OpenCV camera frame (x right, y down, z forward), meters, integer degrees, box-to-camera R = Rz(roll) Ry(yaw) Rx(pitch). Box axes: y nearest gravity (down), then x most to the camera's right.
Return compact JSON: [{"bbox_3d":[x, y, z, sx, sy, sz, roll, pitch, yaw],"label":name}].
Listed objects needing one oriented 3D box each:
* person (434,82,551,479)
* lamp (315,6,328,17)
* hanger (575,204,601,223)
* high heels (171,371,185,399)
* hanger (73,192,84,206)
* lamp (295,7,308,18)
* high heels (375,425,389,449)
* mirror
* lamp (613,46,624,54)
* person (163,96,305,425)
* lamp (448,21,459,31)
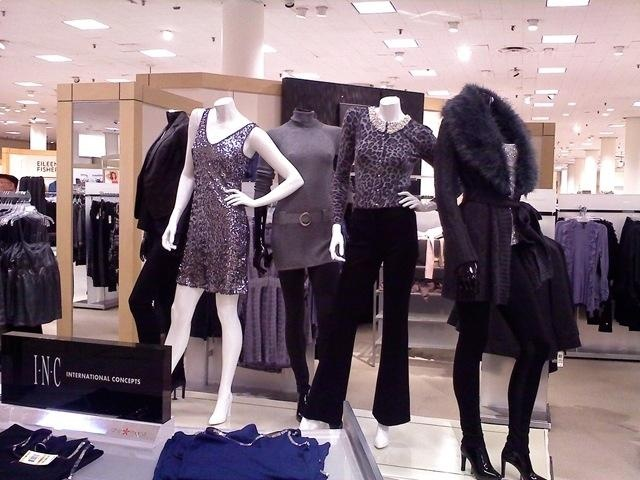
[{"bbox_3d":[0.850,0.204,2.508,0.570,1.970,0.433,2,5,14],"label":"person"},{"bbox_3d":[0.014,-3.559,7.815,0.196,0.118,0.317,1,6,1],"label":"lamp"},{"bbox_3d":[2.745,-0.304,5.145,0.210,0.143,0.222,2,7,26],"label":"hanger"},{"bbox_3d":[-0.874,0.905,3.106,0.065,0.093,0.209,0,-13,-4],"label":"high heels"},{"bbox_3d":[-1.832,-0.307,3.787,0.019,0.080,0.080,-16,-13,37],"label":"hanger"},{"bbox_3d":[-0.290,-3.517,7.752,0.120,0.103,0.132,6,10,18],"label":"lamp"},{"bbox_3d":[0.342,1.061,2.732,0.066,0.138,0.135,0,6,14],"label":"high heels"},{"bbox_3d":[-1.657,-0.173,3.701,0.550,1.639,0.344,5,6,41],"label":"mirror"},{"bbox_3d":[5.544,-3.511,9.247,0.125,0.085,0.132,2,-1,-6],"label":"lamp"},{"bbox_3d":[-0.529,0.112,2.868,0.748,1.816,0.391,0,5,-5],"label":"person"},{"bbox_3d":[2.212,-3.532,8.268,0.100,0.080,0.106,2,2,-1],"label":"lamp"}]
